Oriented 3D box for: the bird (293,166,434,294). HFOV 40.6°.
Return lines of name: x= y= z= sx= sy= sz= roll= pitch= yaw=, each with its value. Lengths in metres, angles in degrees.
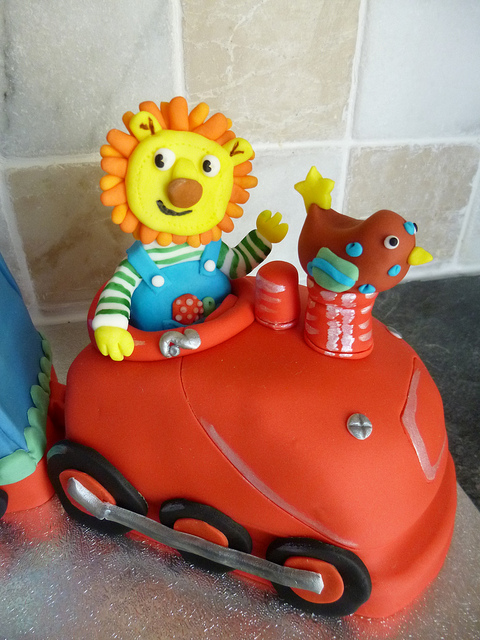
bird: x=0.135 y=-0.104 z=0.773 sx=0.168 sy=0.121 sz=0.132 roll=26 pitch=46 yaw=36
